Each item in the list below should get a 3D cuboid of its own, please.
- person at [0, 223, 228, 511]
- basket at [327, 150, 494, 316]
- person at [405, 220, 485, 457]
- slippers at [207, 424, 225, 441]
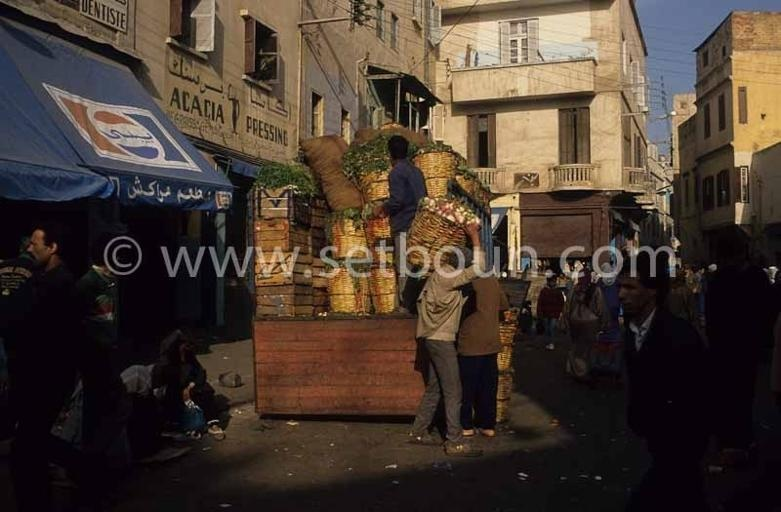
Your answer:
[{"bbox_3d":[-3.726,1.227,9.274,1.133,3.115,1.438,-3,8,-18],"label":"person"},{"bbox_3d":[0.515,-0.419,11.771,1.525,1.098,2.648,0,16,6],"label":"basket"},{"bbox_3d":[0.730,1.057,10.670,1.002,3.007,0.829,4,8,28],"label":"person"},{"bbox_3d":[-2.398,2.408,11.050,0.155,0.112,0.201,-1,20,-45],"label":"slippers"}]
